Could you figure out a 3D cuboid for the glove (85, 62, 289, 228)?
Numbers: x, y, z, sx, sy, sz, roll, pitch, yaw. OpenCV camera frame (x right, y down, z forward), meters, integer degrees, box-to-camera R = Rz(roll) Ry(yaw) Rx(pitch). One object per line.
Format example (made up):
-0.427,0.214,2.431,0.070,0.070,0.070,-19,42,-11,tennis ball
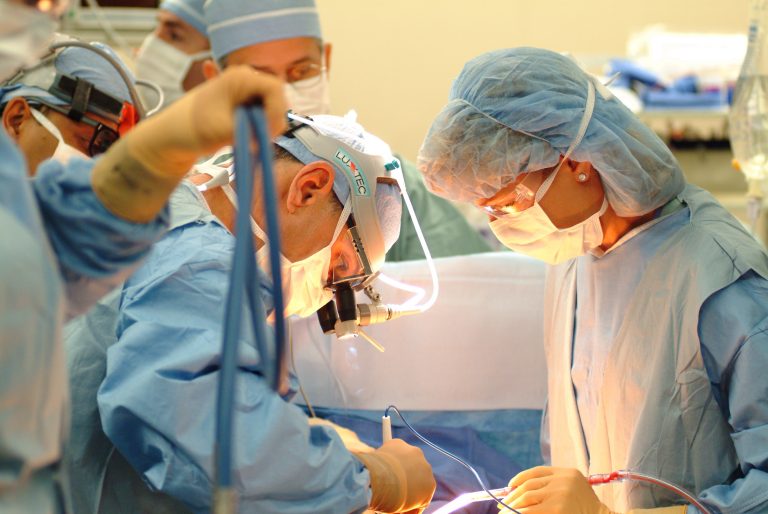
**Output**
-0.450,-0.257,2.425,0.468,0.340,0.090,1,0,18,glove

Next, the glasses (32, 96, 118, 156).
-0.913,-0.391,3.093,0.190,0.067,0.154,32,3,11,glasses
